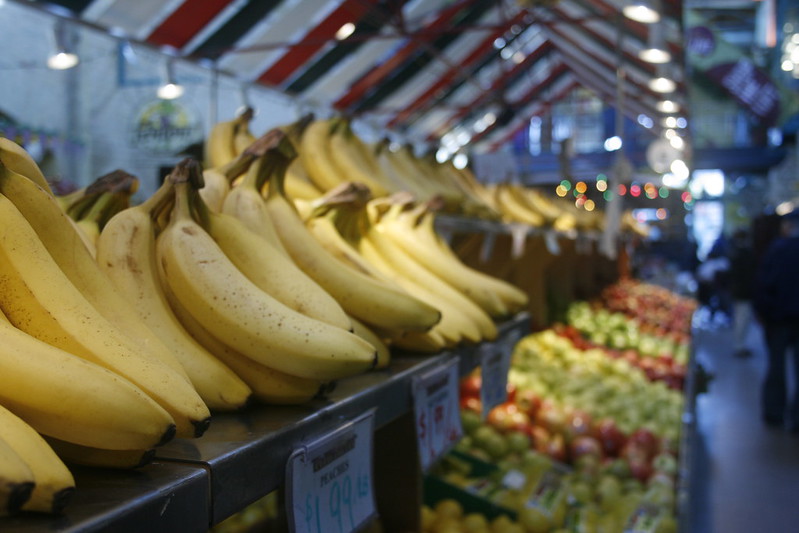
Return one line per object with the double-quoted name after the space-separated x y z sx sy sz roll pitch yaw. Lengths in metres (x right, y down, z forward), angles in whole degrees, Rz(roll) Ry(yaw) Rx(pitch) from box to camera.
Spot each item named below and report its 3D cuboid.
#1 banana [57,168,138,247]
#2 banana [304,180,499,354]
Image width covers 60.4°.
-0.601 -0.121 1.402 0.061 0.170 0.081 17 16 -2 "banana"
0.029 -0.011 2.017 0.200 0.465 0.125 -20 33 21 "banana"
